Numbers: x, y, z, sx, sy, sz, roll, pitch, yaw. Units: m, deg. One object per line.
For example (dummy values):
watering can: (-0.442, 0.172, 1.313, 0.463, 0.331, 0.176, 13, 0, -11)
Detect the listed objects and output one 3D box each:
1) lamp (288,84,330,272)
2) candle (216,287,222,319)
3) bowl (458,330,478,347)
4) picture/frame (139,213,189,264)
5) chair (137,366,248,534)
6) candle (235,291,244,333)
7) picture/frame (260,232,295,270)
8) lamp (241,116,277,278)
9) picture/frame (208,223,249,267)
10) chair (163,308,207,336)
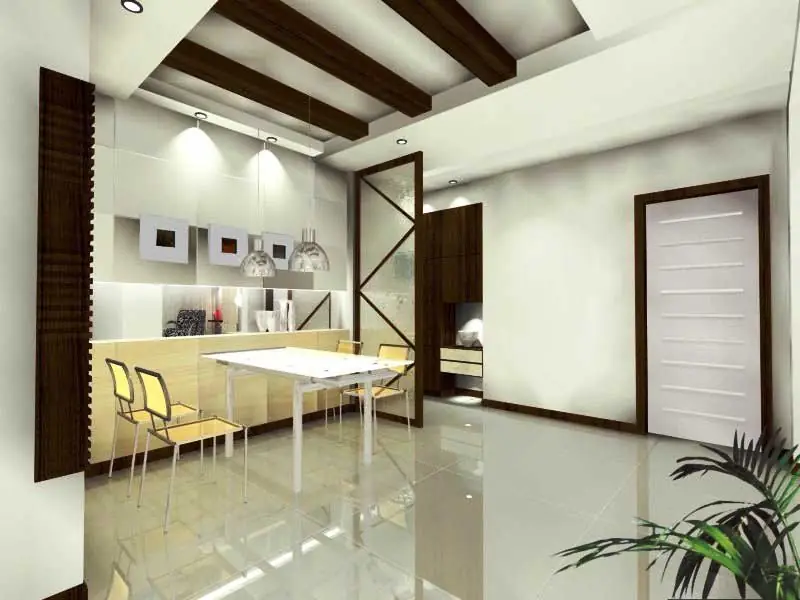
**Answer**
lamp: (-0.835, -1.081, 5.095, 0.331, 1.611, 0.375, 1, 3, 17)
candle: (-1.887, 0.028, 5.789, 0.016, 0.318, 0.081, 2, 2, 40)
bowl: (0.957, 0.519, 7.716, 0.209, 0.170, 0.203, 0, -4, 0)
picture/frame: (-2.243, -0.582, 5.226, 0.044, 0.470, 0.459, 1, 2, 41)
chair: (-1.756, 1.073, 4.635, 0.785, 1.154, 1.172, 0, 1, -26)
candle: (-1.722, 0.108, 5.951, 0.032, 0.435, 0.114, 1, 1, 36)
picture/frame: (-1.301, -0.519, 5.838, 0.042, 0.468, 0.434, -5, -6, 36)
lamp: (-1.318, -0.842, 5.080, 0.286, 1.191, 0.276, -6, 12, -29)
picture/frame: (-1.764, -0.559, 5.648, 0.045, 0.450, 0.441, -5, -7, 39)
chair: (-2.111, 0.225, 5.493, 0.383, 0.406, 0.218, 2, 2, -44)
